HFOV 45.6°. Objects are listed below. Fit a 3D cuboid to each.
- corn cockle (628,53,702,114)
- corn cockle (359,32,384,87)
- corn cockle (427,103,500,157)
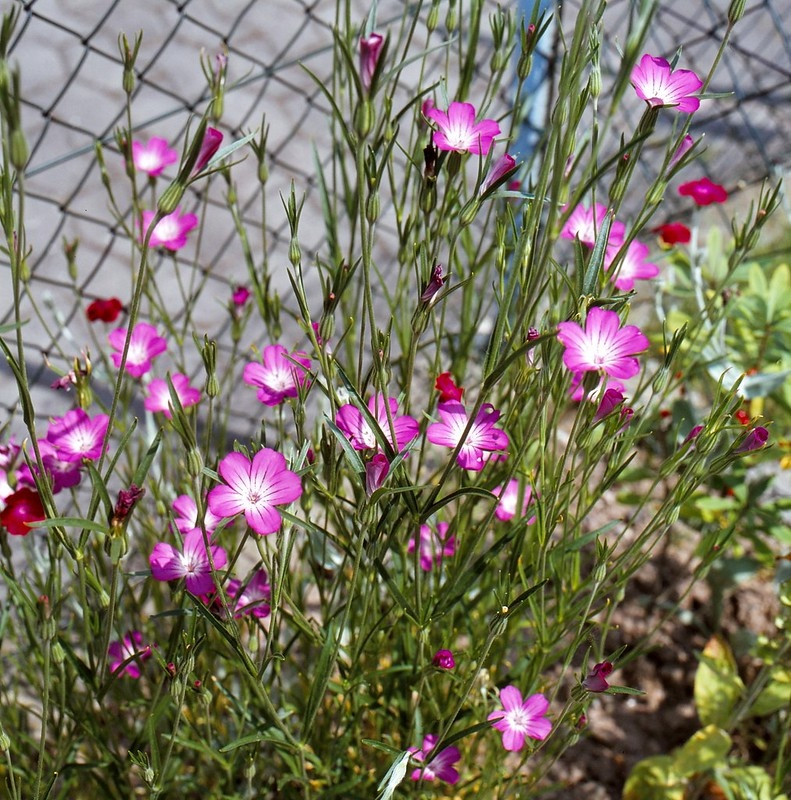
[{"bbox_3d":[0.348,-0.401,1.200,0.092,0.046,0.153,25,38,10],"label":"corn cockle"},{"bbox_3d":[-0.029,-0.374,1.045,0.027,0.054,0.062,7,35,-5],"label":"corn cockle"},{"bbox_3d":[0.077,-0.354,1.239,0.076,0.051,0.094,7,-3,2],"label":"corn cockle"}]
